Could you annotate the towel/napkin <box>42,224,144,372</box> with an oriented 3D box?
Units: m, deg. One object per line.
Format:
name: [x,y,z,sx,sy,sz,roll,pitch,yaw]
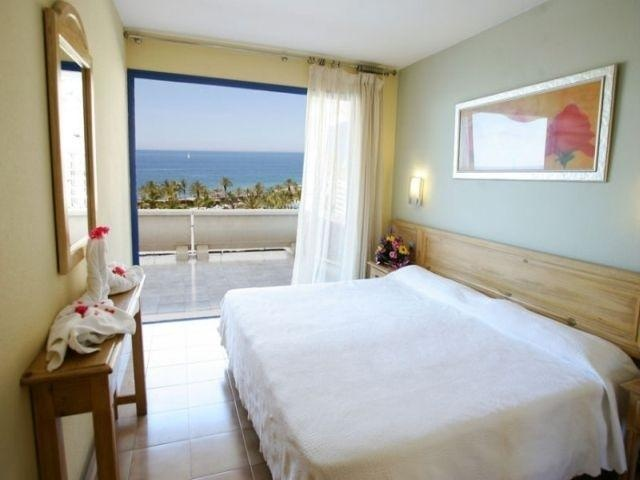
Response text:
towel/napkin: [-1.318,0.337,2.536,0.347,0.537,1.095,-2,16,-9]

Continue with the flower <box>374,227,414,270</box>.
flower: [0.846,0.107,4.849,0.371,0.299,0.329,1,16,-25]

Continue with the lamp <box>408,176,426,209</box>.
lamp: [1.073,-0.527,4.858,0.069,0.283,0.252,-2,10,-18]

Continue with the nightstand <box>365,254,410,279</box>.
nightstand: [0.764,0.360,4.940,0.253,0.347,0.336,-6,17,-20]
